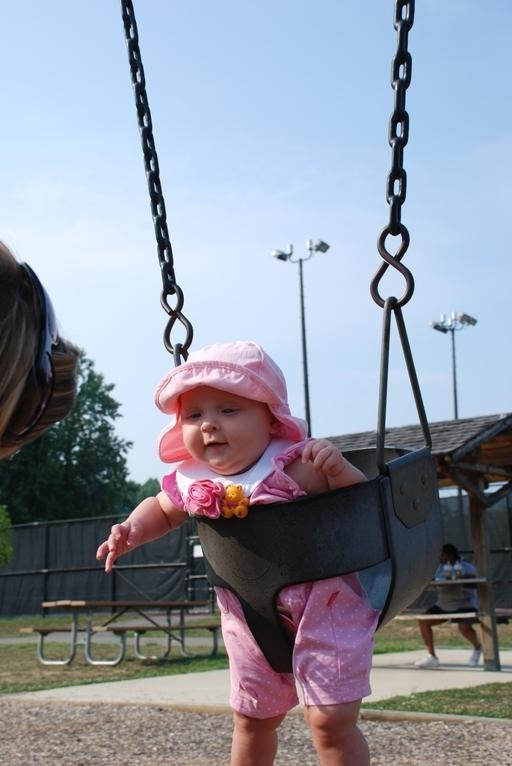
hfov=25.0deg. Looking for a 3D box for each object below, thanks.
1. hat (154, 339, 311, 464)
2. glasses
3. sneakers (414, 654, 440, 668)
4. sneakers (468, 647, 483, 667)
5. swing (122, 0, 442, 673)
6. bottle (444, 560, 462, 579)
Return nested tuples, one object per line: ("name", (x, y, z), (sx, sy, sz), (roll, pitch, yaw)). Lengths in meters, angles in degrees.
("hat", (-0.085, -0.006, 3.252), (0.337, 0.233, 0.390), (-11, -33, 12))
("glasses", (-0.484, -0.069, 2.523), (0.081, 0.377, 0.155), (2, -9, -11))
("sneakers", (1.260, 2.031, 8.484), (0.225, 0.090, 0.073), (5, -8, -27))
("sneakers", (1.667, 2.076, 8.816), (0.071, 0.080, 0.187), (3, 33, 23))
("swing", (0.065, -0.149, 3.125), (0.876, 1.827, 0.759), (0, -9, 4))
("bottle", (1.585, 1.508, 9.420), (0.143, 0.169, 0.122), (-15, -23, 43))
